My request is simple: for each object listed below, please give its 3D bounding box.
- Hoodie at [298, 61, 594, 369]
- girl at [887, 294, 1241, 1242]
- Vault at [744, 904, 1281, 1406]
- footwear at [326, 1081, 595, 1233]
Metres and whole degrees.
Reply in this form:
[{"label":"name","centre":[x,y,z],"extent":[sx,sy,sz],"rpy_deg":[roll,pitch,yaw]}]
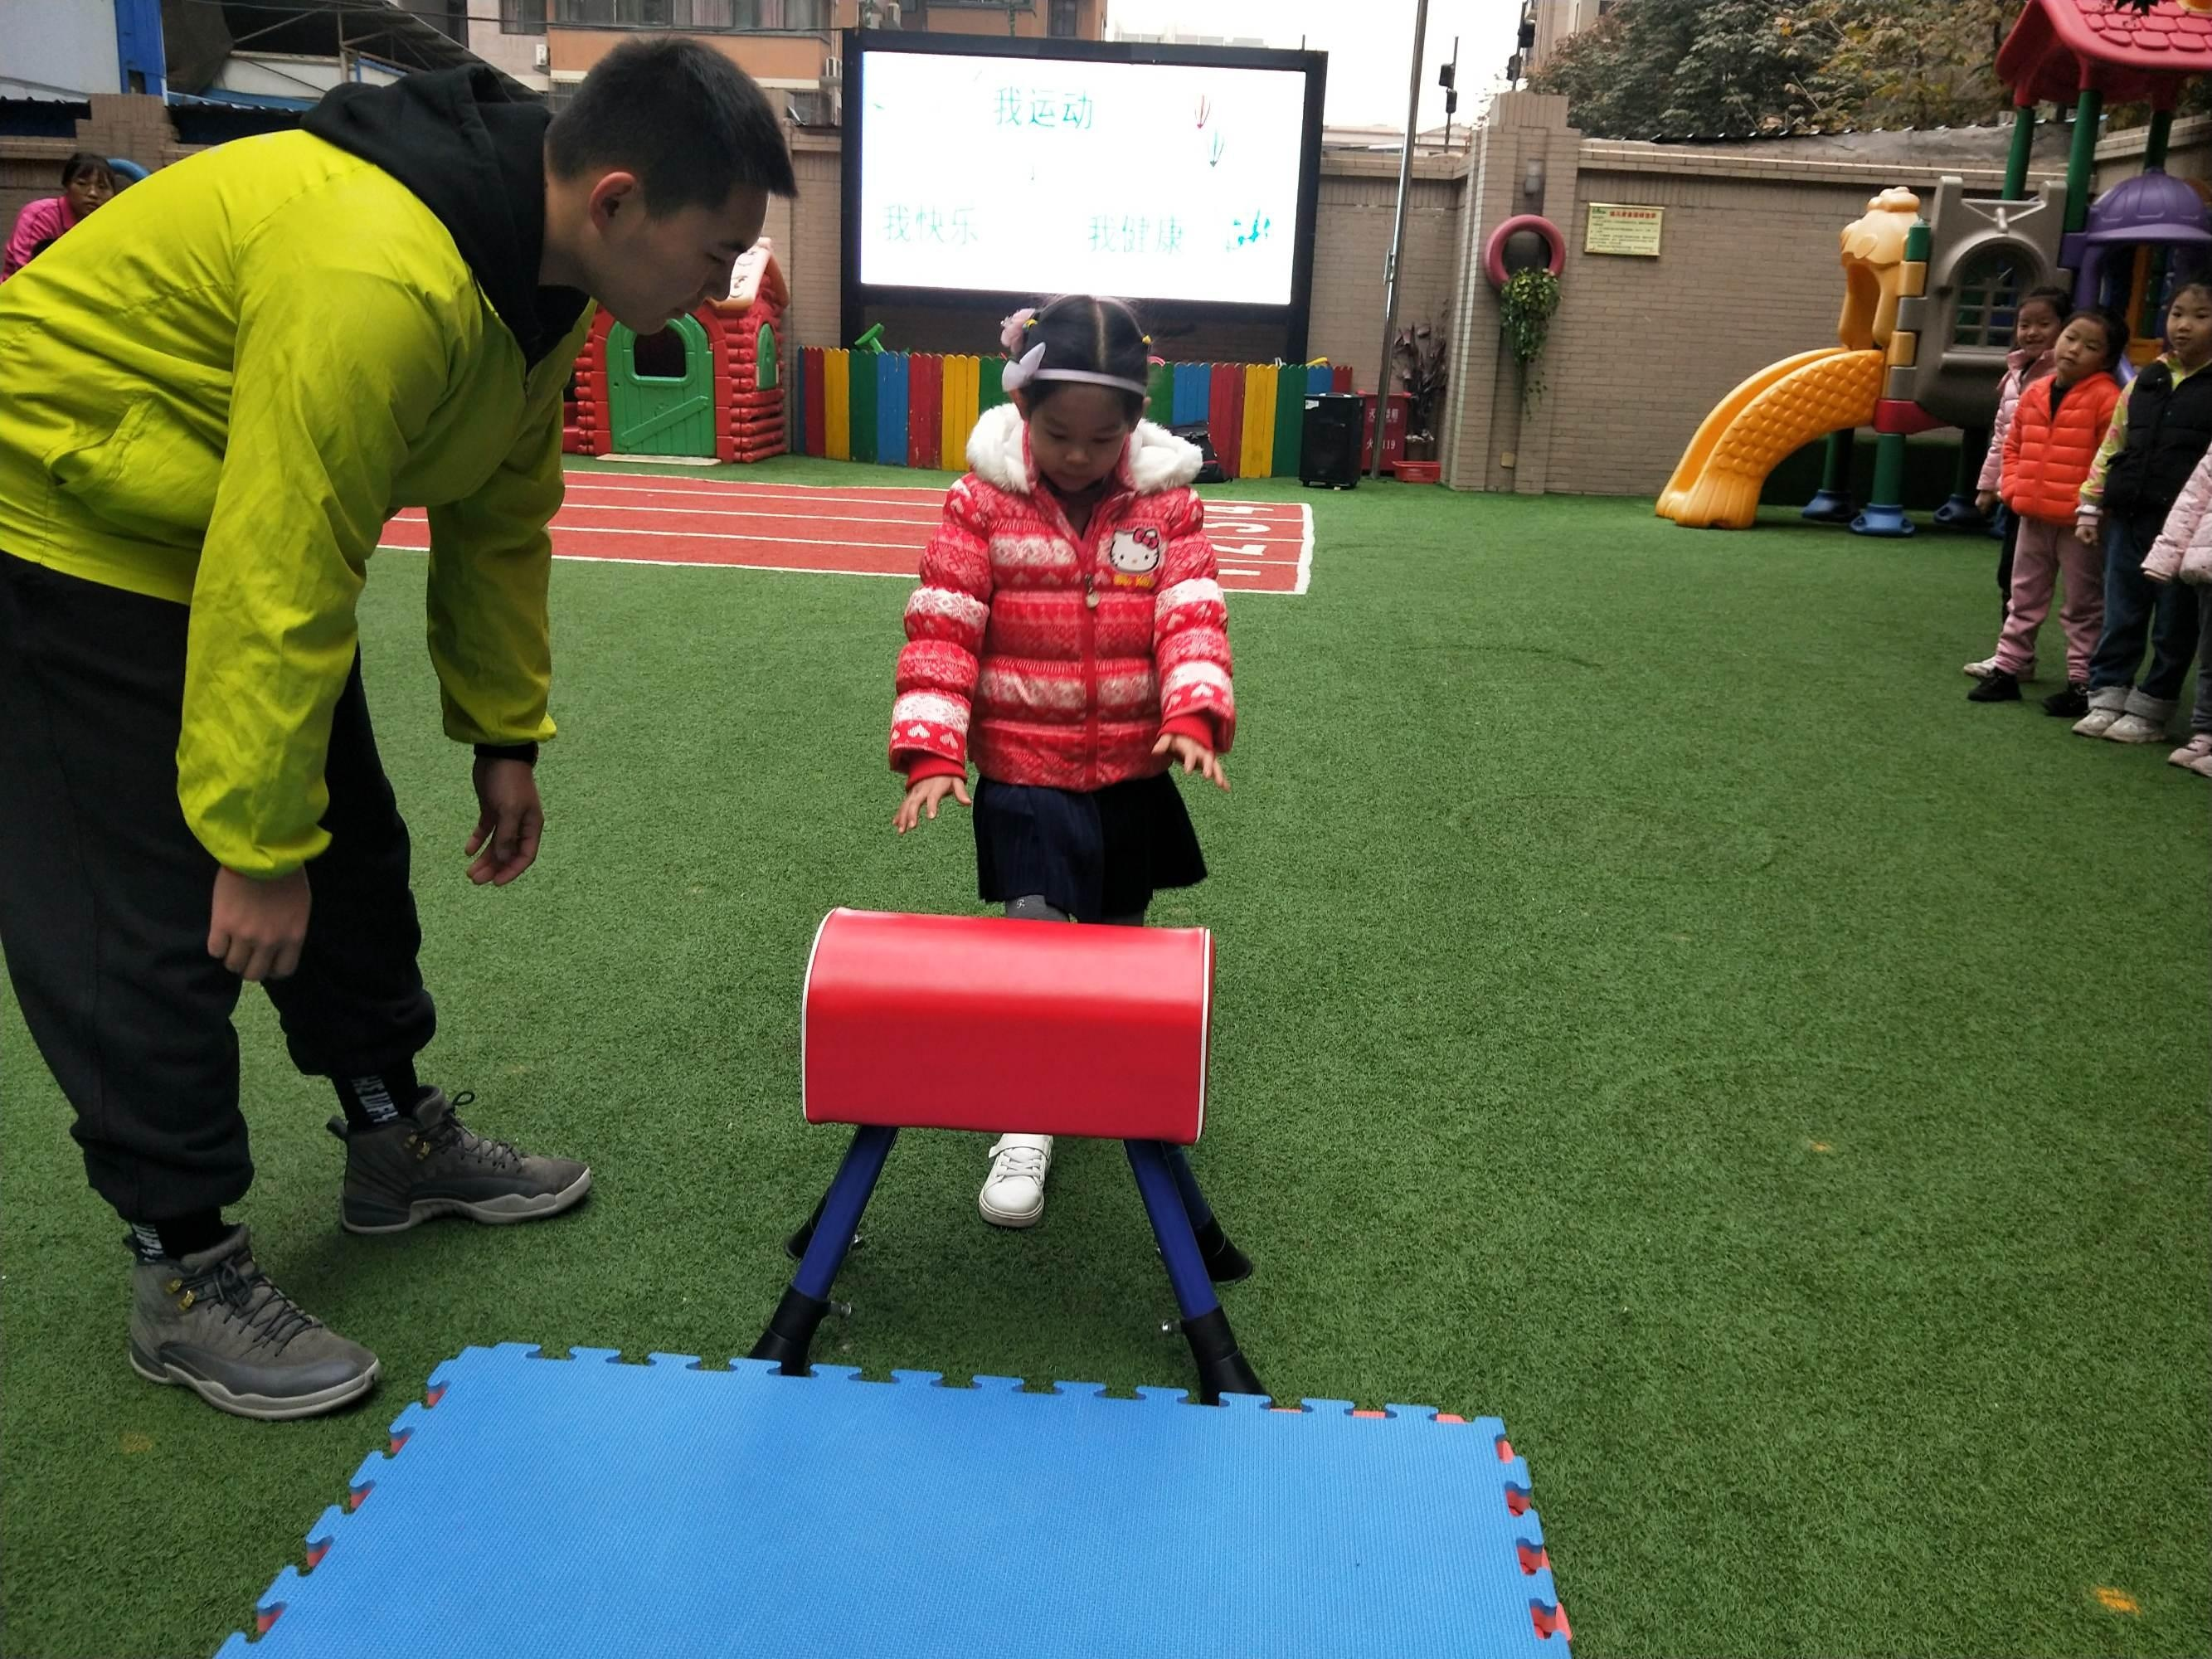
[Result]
[{"label":"Hoodie","centre":[-0.915,-0.938,2.127],"extent":[0.344,0.465,0.211],"rpy_deg":[44,54,2]},{"label":"girl","centre":[-0.088,-0.123,3.031],"extent":[0.749,1.822,0.746],"rpy_deg":[-6,13,-23]},{"label":"Vault","centre":[-0.102,0.605,2.757],"extent":[1.054,0.788,0.731],"rpy_deg":[3,9,4]},{"label":"footwear","centre":[-1.290,0.651,3.109],"extent":[0.563,0.298,0.225],"rpy_deg":[1,12,-11]}]
